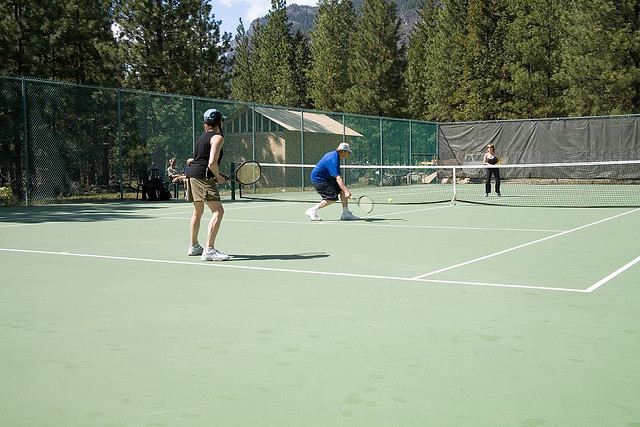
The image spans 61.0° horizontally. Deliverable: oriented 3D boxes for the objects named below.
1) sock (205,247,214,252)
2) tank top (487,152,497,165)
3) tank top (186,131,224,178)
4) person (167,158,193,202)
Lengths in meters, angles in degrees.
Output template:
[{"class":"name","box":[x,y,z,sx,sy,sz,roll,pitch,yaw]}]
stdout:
[{"class":"sock","box":[-1.610,0.513,7.904,0.070,0.045,0.058,-20,-11,31]},{"class":"tank top","box":[6.272,-2.022,19.964,0.395,0.550,0.286,2,-5,-10]},{"class":"tank top","box":[-1.707,-0.861,7.860,0.511,0.670,0.208,3,6,31]},{"class":"person","box":[-5.088,-1.195,19.768,0.866,1.236,0.908,-2,6,-23]}]
